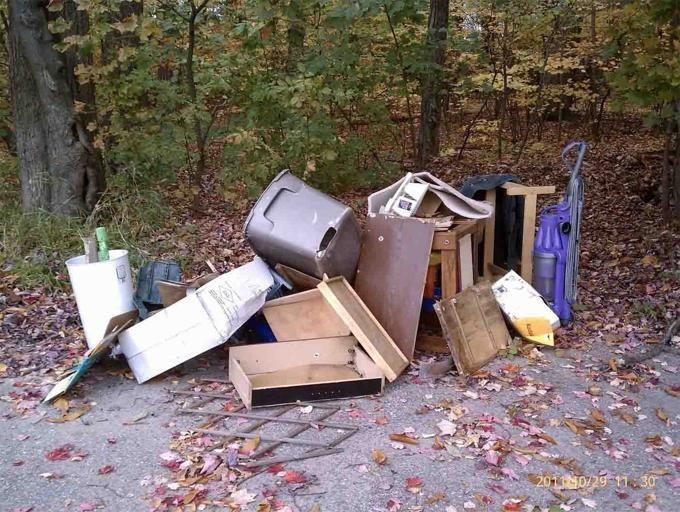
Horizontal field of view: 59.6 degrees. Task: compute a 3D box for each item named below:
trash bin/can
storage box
[{"bbox_3d":[-2.161,0.418,5.429,0.506,0.796,0.352,-6,23,-18],"label":"trash bin/can"},{"bbox_3d":[-0.379,-0.460,5.922,1.075,0.674,0.794,18,10,-9],"label":"storage box"}]
